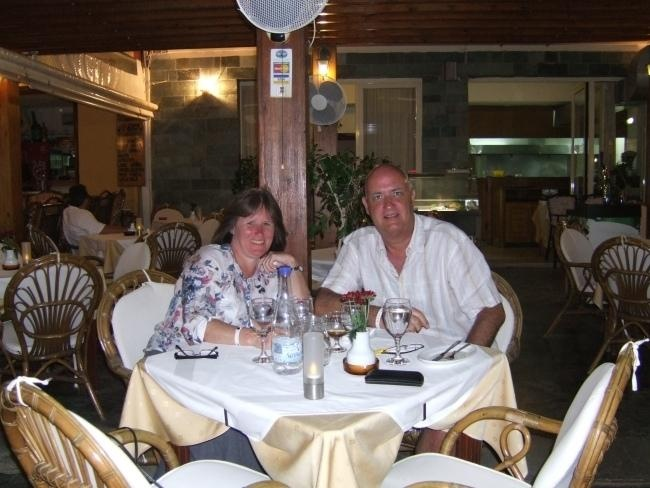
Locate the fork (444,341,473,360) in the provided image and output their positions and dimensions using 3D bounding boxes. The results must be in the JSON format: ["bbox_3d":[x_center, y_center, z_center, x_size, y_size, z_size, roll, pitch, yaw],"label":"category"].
[{"bbox_3d":[0.555,0.432,2.436,0.042,0.033,0.176,18,21,39],"label":"fork"}]

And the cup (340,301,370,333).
[{"bbox_3d":[0.109,0.273,2.287,0.110,0.137,0.114,2,1,0],"label":"cup"}]

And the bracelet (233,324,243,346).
[{"bbox_3d":[-0.382,0.408,2.582,0.038,0.069,0.044,1,9,20],"label":"bracelet"}]

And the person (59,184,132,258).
[{"bbox_3d":[-2.883,-0.291,7.384,0.763,1.127,0.593,16,28,30],"label":"person"}]

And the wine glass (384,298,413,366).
[{"bbox_3d":[0.292,0.343,2.420,0.107,0.236,0.243,-1,9,2],"label":"wine glass"}]

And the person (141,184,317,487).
[{"bbox_3d":[-0.407,0.398,2.796,0.855,1.277,0.617,-7,10,-32],"label":"person"}]
